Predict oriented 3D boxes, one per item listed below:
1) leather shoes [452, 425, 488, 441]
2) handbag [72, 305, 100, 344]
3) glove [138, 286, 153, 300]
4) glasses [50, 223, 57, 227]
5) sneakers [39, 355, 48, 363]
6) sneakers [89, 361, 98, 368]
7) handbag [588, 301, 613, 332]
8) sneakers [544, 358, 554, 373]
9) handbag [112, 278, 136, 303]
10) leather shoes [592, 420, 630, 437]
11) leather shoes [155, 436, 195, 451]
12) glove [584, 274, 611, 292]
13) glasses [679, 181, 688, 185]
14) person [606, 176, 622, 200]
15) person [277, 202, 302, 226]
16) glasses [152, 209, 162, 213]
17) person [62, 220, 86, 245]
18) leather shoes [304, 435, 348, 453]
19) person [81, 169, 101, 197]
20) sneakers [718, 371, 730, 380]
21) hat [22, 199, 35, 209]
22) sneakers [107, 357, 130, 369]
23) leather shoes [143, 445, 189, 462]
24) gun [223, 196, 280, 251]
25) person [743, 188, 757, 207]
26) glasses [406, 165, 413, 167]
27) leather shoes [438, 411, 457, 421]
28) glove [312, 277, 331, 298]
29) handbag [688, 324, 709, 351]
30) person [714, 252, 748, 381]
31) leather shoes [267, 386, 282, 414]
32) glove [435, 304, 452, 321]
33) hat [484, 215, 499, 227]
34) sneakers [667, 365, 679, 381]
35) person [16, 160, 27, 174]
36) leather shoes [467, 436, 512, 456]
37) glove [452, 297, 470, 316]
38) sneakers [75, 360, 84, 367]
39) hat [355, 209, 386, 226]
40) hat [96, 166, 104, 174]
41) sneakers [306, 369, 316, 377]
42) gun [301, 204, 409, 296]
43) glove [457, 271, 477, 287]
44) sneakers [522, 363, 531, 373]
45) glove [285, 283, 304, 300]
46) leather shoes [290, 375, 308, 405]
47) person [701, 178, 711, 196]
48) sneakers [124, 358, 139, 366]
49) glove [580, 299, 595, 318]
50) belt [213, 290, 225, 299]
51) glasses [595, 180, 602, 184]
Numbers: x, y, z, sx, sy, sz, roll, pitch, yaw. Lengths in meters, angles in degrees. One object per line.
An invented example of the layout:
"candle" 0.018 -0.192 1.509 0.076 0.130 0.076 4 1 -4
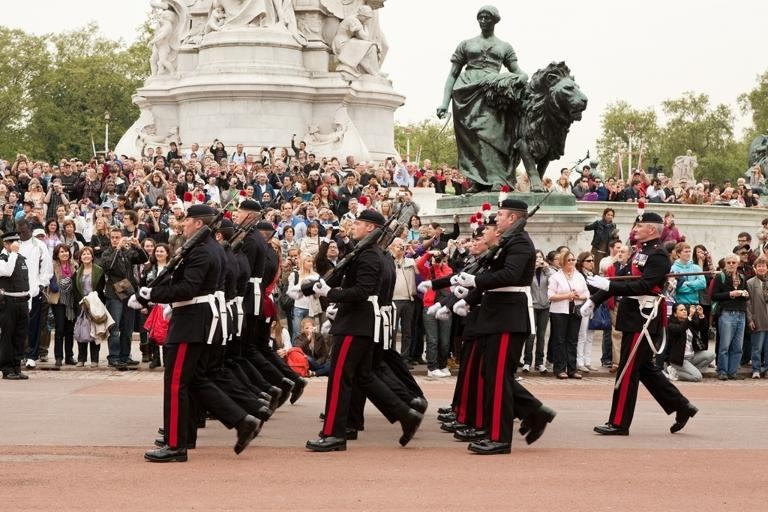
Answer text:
"leather shoes" 1.529 3.174 24.910 0.609 0.166 0.202 3 -6 0
"handbag" -6.282 1.531 29.892 0.563 0.804 0.367 4 14 8
"glove" -3.981 0.650 23.798 0.175 0.260 0.360 -2 12 -14
"glasses" -7.239 -0.660 31.135 0.109 0.109 0.102 4 -14 -29
"sneakers" -7.324 2.270 30.645 0.098 0.091 0.257 2 -11 -30
"sneakers" -6.178 2.346 30.304 0.128 0.110 0.319 1 -9 -20
"handbag" 4.576 1.313 29.943 0.827 0.622 0.330 3 -20 -10
"sneakers" 3.597 2.406 30.744 0.274 0.254 0.694 -3 -11 1
"handbag" -5.427 0.742 29.589 0.450 0.431 0.268 -32 7 -20
"leather shoes" 4.071 3.131 25.352 0.598 0.201 0.235 6 -10 1
"leather shoes" -3.537 3.203 24.211 0.766 0.245 0.262 8 -5 0
"glove" 3.838 0.495 25.375 0.404 0.110 0.274 7 -3 19
"glasses" 8.889 -2.174 41.928 0.228 0.116 0.244 0 -8 -3
"person" 6.335 -1.811 38.859 0.474 0.571 1.067 4 12 10
"person" -2.218 -0.976 33.474 0.867 0.568 0.390 -2 0 -7
"glasses" -5.225 -1.034 32.737 0.130 0.116 0.040 4 -30 -20
"person" -6.863 -0.506 31.558 0.512 0.631 0.820 -1 12 -11
"leather shoes" -0.968 3.253 24.159 0.689 0.251 0.250 4 -7 -10
"person" -7.302 -1.793 35.641 0.446 0.722 1.354 -1 12 -10
"sneakers" 7.429 2.637 30.869 0.249 0.149 0.139 2 13 3
"hat" -8.143 -1.146 32.545 0.263 0.139 0.310 1 -17 -4
"sneakers" -5.594 2.314 30.050 0.543 0.177 0.186 2 1 6
"leather shoes" -3.610 3.336 23.669 0.711 0.212 0.259 4 -5 -4
"gun" -2.572 -0.501 25.979 0.462 0.323 1.296 6 41 27
"person" 10.922 -1.710 42.177 0.454 0.516 1.018 5 12 13
"glasses" 0.823 -2.686 42.458 0.149 0.085 0.288 -1 11 -10
"leather shoes" 1.168 2.946 25.680 0.145 0.105 0.328 9 -5 -39
"glove" -1.098 0.571 24.438 0.280 0.119 0.332 16 25 -34
"handbag" 6.869 1.808 30.991 0.337 0.535 0.400 -23 31 16
"person" 7.604 1.350 30.951 0.797 2.667 0.948 1 15 -3
"leather shoes" -1.968 2.650 25.962 0.256 0.476 0.192 16 24 38
"glove" 1.094 1.034 25.809 0.131 0.306 0.290 47 11 -22
"hat" 1.882 -0.599 24.737 0.228 0.128 0.197 1 -7 5
"sneakers" 6.249 2.554 30.641 0.172 0.333 0.176 6 4 3
"person" -9.286 -2.279 36.502 0.344 0.434 0.851 -2 12 -14
"leather shoes" 1.808 3.288 24.093 0.694 0.224 0.268 4 -10 -3
"glove" 1.404 0.944 25.219 0.277 0.120 0.327 18 20 10
"sneakers" -6.446 2.326 30.187 0.180 0.055 0.084 8 -18 -16
"hat" -0.214 -0.658 24.534 0.449 0.128 0.281 12 2 -5
"hat" -7.372 -2.239 37.074 0.240 0.234 0.265 0 12 -6
"sneakers" -1.481 2.464 29.461 0.159 0.145 0.376 -6 -9 20
"gun" -0.519 -0.050 27.412 2.825 0.483 0.846 -33 28 7
"glove" 1.429 0.446 24.374 0.350 0.290 0.292 3 13 7
"sneakers" 3.085 2.446 30.585 0.182 0.150 0.433 -2 -10 8
"glove" -1.656 0.757 26.848 0.399 0.165 0.463 -4 19 3
"leather shoes" -1.628 2.578 26.731 0.232 0.617 0.264 23 21 -24
"person" 9.344 -2.016 41.101 0.253 0.453 1.021 5 12 13
"sneakers" -5.349 2.289 30.260 0.328 0.111 0.098 1 12 0
"glove" 3.707 0.980 25.705 0.139 0.344 0.250 51 0 14
"belt" -2.786 0.673 24.151 0.143 0.106 0.150 3 -17 -13
"glasses" 5.925 -2.026 39.148 0.146 0.073 0.152 2 -12 -4
